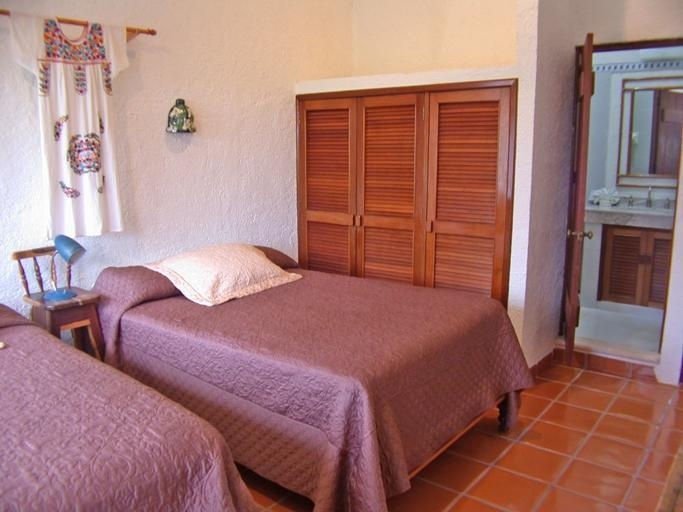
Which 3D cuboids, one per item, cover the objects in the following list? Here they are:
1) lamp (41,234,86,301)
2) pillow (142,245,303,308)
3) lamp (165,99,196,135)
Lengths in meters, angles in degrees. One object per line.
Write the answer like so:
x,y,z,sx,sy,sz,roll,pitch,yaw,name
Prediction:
-1.645,0.046,3.038,0.237,0.357,0.359,-10,18,-31,lamp
-0.740,0.105,3.374,0.505,0.137,0.527,22,25,38,pillow
-1.118,-0.954,3.557,0.193,0.231,0.133,-12,30,-30,lamp
